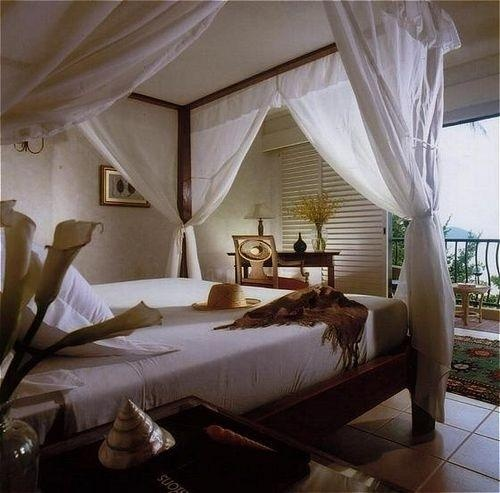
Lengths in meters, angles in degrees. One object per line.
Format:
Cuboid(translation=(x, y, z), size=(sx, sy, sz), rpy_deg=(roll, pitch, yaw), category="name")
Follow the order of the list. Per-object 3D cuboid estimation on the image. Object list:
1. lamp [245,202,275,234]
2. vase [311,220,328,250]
Cuboid(translation=(0.170, -0.384, 5.309), size=(0.401, 0.480, 0.427), rpy_deg=(-1, 0, -14), category="lamp")
Cuboid(translation=(0.799, -0.112, 4.367), size=(0.134, 0.325, 0.254), rpy_deg=(0, 2, 10), category="vase")
